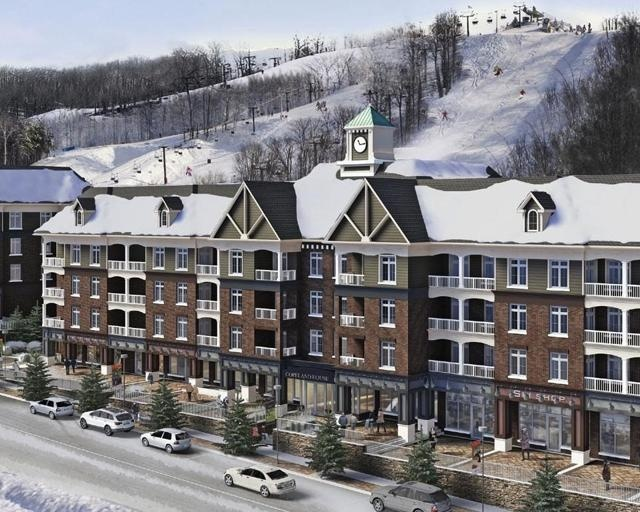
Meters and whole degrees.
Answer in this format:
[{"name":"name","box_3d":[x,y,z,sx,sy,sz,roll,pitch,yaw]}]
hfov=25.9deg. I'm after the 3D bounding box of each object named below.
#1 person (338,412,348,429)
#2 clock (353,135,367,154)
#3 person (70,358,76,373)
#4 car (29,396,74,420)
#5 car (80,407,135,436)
[{"name":"person","box_3d":[2.293,16.236,137.374,0.994,2.878,0.817,0,17,-1]},{"name":"clock","box_3d":[4.459,-12.383,152.031,1.446,1.609,0.334,-17,-10,42]},{"name":"person","box_3d":[-28.380,12.538,159.731,0.662,1.706,1.934,-1,0,-11]},{"name":"car","box_3d":[-28.535,16.056,147.685,4.143,2.305,1.873,-1,0,18]},{"name":"car","box_3d":[-22.074,16.780,143.696,5.080,2.195,2.441,7,6,35]}]
